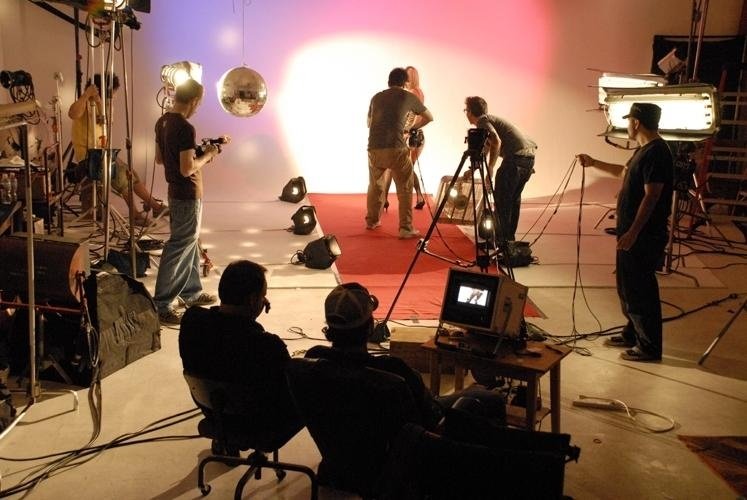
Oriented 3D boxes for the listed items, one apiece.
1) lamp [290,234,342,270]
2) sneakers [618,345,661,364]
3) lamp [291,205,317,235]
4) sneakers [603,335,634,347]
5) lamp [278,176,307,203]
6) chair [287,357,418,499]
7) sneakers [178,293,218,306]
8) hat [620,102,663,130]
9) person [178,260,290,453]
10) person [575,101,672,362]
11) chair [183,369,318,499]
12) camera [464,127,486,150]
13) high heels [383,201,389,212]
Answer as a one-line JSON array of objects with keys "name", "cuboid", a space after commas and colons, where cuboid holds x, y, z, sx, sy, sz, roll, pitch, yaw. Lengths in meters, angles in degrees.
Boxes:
[{"name": "lamp", "cuboid": [-0.745, 0.031, 7.590, 0.558, 0.276, 0.377, -5, 11, 6]}, {"name": "sneakers", "cuboid": [2.440, 0.959, 5.557, 0.359, 0.140, 0.144, 3, 4, 6]}, {"name": "lamp", "cuboid": [-1.065, -0.425, 8.875, 0.318, 0.433, 0.430, 7, -7, -36]}, {"name": "sneakers", "cuboid": [2.340, 0.863, 5.792, 0.282, 0.127, 0.104, -1, 6, 7]}, {"name": "lamp", "cuboid": [-1.465, -1.083, 10.837, 0.495, 0.442, 0.393, 1, 14, -5]}, {"name": "chair", "cuboid": [-0.147, 0.940, 3.740, 0.682, 0.888, 0.819, 8, 15, 24]}, {"name": "sneakers", "cuboid": [-1.847, 0.508, 6.256, 0.356, 0.150, 0.139, -2, 9, -13]}, {"name": "hat", "cuboid": [2.436, -1.218, 5.481, 0.212, 0.160, 0.270, -10, 27, -34]}, {"name": "person", "cuboid": [-0.885, 0.730, 3.833, 0.693, 1.278, 0.423, 1, 11, -9]}, {"name": "person", "cuboid": [2.476, -0.173, 5.563, 0.629, 2.311, 0.545, 7, 11, 22]}, {"name": "chair", "cuboid": [-0.785, 1.191, 3.876, 0.699, 0.870, 0.655, 6, 22, 16]}, {"name": "camera", "cuboid": [0.881, -0.946, 5.094, 0.184, 0.176, 0.324, 3, 4, 17]}, {"name": "high heels", "cuboid": [0.207, -0.755, 10.287, 0.065, 0.194, 0.083, -4, 51, 0]}]
